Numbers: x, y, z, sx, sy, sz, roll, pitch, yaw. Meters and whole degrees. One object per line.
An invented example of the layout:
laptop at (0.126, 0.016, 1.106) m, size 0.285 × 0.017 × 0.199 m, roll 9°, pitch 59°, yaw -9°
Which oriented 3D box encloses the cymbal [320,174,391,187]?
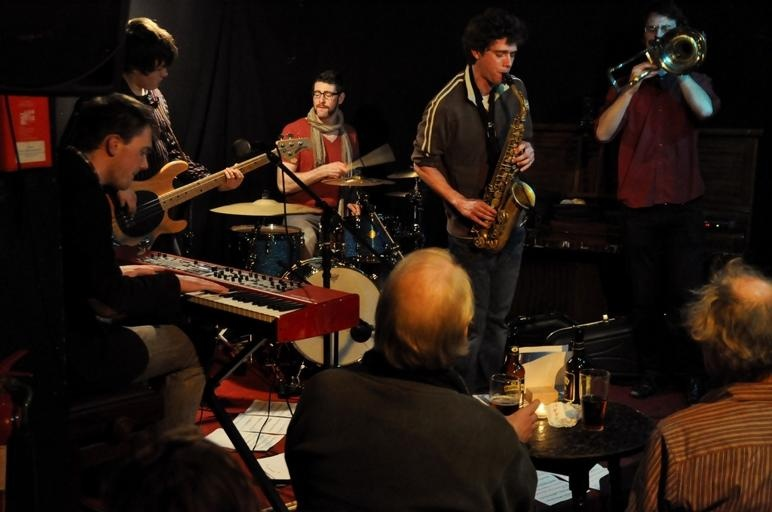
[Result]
cymbal at (-0.265, -0.675, 5.534) m, size 0.413 × 0.098 × 0.432 m, roll 2°, pitch 3°, yaw 37°

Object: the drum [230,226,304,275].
drum at (-0.901, -0.156, 5.103) m, size 0.542 × 0.438 × 0.575 m, roll -3°, pitch 14°, yaw 1°

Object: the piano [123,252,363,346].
piano at (-0.962, 0.199, 3.548) m, size 1.694 × 0.209 × 0.579 m, roll 7°, pitch 9°, yaw 37°

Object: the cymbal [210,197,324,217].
cymbal at (-0.953, -0.398, 5.047) m, size 0.640 × 0.146 × 0.670 m, roll -1°, pitch 16°, yaw -3°

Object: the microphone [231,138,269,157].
microphone at (-0.757, -0.599, 3.434) m, size 0.184 × 0.112 × 0.285 m, roll -2°, pitch 3°, yaw -35°

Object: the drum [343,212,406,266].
drum at (-0.117, -0.161, 5.450) m, size 0.451 × 0.368 × 0.469 m, roll -4°, pitch 1°, yaw 0°

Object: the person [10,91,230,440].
person at (-1.338, 0.247, 3.292) m, size 0.704 × 2.009 × 1.118 m, roll 14°, pitch 8°, yaw 35°
